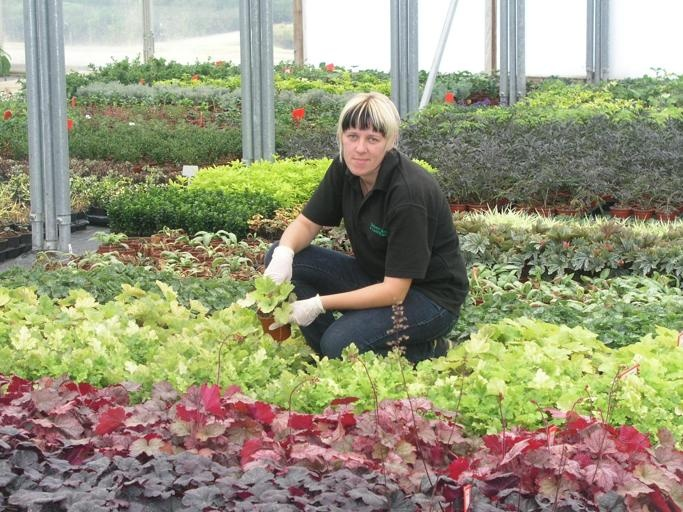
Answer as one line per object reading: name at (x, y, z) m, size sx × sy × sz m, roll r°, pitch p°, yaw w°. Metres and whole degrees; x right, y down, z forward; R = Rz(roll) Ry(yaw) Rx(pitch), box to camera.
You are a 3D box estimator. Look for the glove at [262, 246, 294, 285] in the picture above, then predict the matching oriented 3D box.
glove at (-0.395, 0.070, 4.487) m, size 0.149 × 0.240 × 0.120 m, roll 9°, pitch -6°, yaw 3°
